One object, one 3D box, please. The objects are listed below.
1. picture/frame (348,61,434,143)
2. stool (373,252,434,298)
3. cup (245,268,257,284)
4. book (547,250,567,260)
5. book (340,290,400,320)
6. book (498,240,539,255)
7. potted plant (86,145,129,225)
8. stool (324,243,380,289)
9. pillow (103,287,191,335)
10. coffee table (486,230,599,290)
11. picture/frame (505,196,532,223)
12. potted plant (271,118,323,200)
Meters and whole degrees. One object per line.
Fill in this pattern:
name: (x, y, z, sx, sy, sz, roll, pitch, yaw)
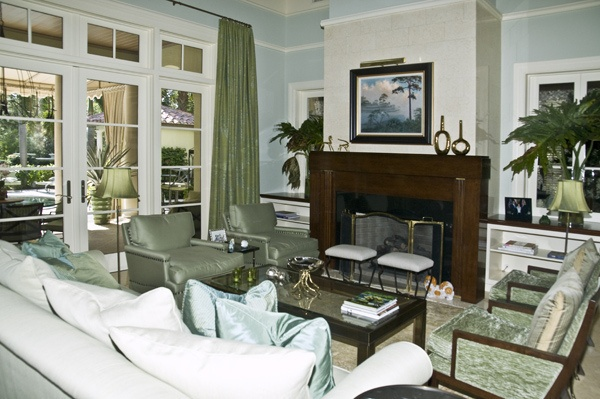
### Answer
picture/frame: (1.236, -1.292, 5.323, 1.191, 1.110, 0.089, 2, 2, 27)
stool: (1.244, 0.926, 4.800, 0.425, 0.483, 0.566, 6, -3, -45)
cup: (-0.486, 0.767, 4.059, 0.132, 0.187, 0.116, 1, -4, -2)
book: (2.963, 0.644, 4.666, 0.180, 0.041, 0.178, -4, 6, 8)
book: (0.594, 0.873, 3.360, 0.455, 0.118, 0.329, -7, 9, -41)
book: (2.672, 0.579, 4.912, 0.230, 0.056, 0.240, -9, 14, -41)
potted plant: (-2.640, -0.273, 5.363, 0.565, 0.882, 0.517, -6, -8, 0)
stool: (0.724, 0.843, 5.330, 0.521, 0.511, 0.759, 6, 5, 31)
pillow: (-0.759, 0.566, 2.015, 0.288, 0.301, 0.090, -23, -17, -9)
coffee table: (2.484, 0.606, 4.149, 0.757, 0.623, 0.221, 3, 18, 13)
picture/frame: (2.739, 0.115, 5.040, 0.103, 0.301, 0.318, -6, 5, -36)
potted plant: (-0.044, -0.697, 6.671, 0.700, 1.294, 1.272, -5, 8, -22)
